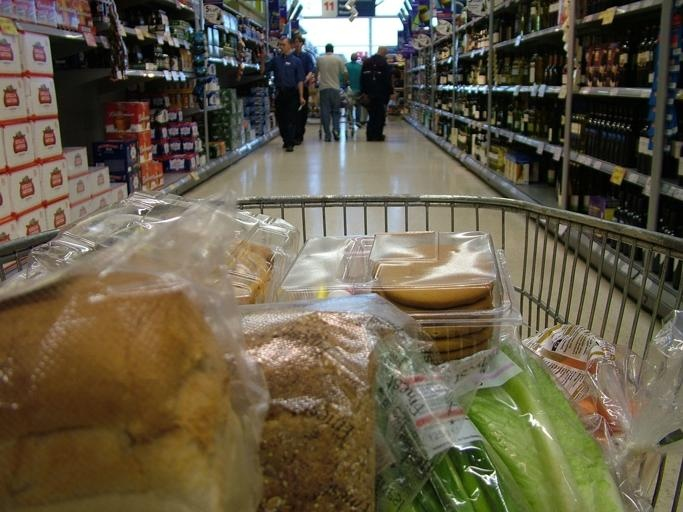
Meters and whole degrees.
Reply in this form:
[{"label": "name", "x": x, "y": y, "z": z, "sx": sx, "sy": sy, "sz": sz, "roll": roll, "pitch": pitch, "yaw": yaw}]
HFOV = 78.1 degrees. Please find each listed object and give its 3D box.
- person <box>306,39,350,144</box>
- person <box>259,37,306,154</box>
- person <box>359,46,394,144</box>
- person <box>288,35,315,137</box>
[{"label": "person", "x": -0.257, "y": -4.255, "z": 10.939, "sx": 0.843, "sy": 3.441, "sz": 0.782, "roll": -4, "pitch": 20, "yaw": -3}, {"label": "person", "x": -1.287, "y": -3.624, "z": 9.476, "sx": 0.859, "sy": 2.615, "sz": 0.988, "roll": 0, "pitch": 5, "yaw": 2}, {"label": "person", "x": 0.895, "y": -4.117, "z": 10.779, "sx": 0.798, "sy": 2.176, "sz": 1.358, "roll": 0, "pitch": 19, "yaw": 3}, {"label": "person", "x": -0.925, "y": -4.316, "z": 10.438, "sx": 0.563, "sy": 3.039, "sz": 0.598, "roll": -1, "pitch": 14, "yaw": 6}]
